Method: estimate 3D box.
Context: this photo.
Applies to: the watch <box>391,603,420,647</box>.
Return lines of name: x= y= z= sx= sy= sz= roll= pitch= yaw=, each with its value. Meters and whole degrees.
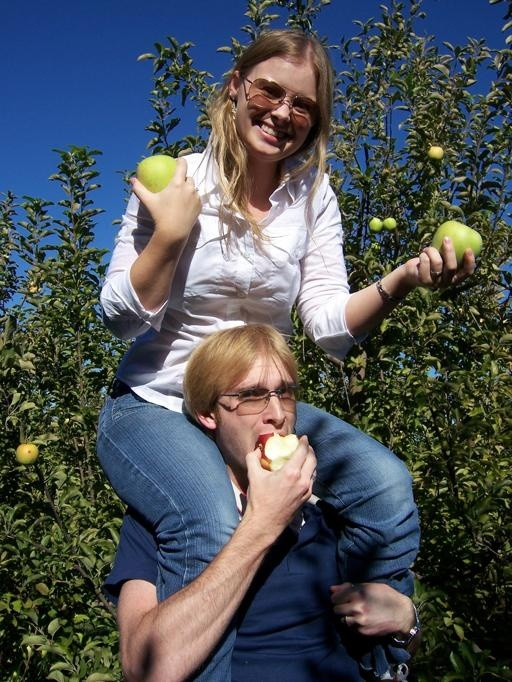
watch: x=0.468 y=0.904 z=1.922 sx=0.092 sy=0.053 sz=0.116 roll=34 pitch=-21 yaw=17

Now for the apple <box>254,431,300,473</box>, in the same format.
apple: x=0.063 y=0.321 z=1.810 sx=0.090 sy=0.043 sz=0.108 roll=-16 pitch=31 yaw=6

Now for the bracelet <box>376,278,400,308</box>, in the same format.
bracelet: x=0.438 y=-0.159 z=2.030 sx=0.079 sy=0.090 sz=0.056 roll=3 pitch=-3 yaw=8

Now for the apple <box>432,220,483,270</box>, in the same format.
apple: x=0.648 y=-0.337 z=1.989 sx=0.155 sy=0.167 sz=0.209 roll=2 pitch=-3 yaw=20

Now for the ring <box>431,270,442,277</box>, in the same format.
ring: x=0.537 y=-0.204 z=1.813 sx=0.021 sy=0.008 sz=0.025 roll=0 pitch=-2 yaw=0

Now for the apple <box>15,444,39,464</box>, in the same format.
apple: x=-0.978 y=0.484 z=2.599 sx=0.090 sy=0.096 sz=0.144 roll=4 pitch=-3 yaw=-19
